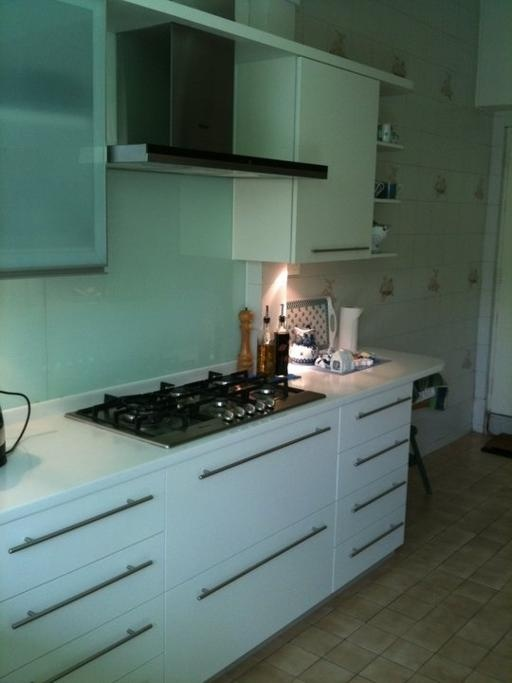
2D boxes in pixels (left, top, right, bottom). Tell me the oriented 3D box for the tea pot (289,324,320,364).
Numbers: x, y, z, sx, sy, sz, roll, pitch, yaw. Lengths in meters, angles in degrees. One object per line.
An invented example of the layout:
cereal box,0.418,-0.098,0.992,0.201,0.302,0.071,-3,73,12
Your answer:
tea pot,0.220,0.011,2.783,0.175,0.205,0.167,1,12,0

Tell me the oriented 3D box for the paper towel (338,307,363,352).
paper towel,0.492,-0.069,3.134,0.112,0.234,0.219,4,9,7

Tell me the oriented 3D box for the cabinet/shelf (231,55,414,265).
cabinet/shelf,0.210,-0.732,2.517,0.333,0.829,0.777,8,16,34
